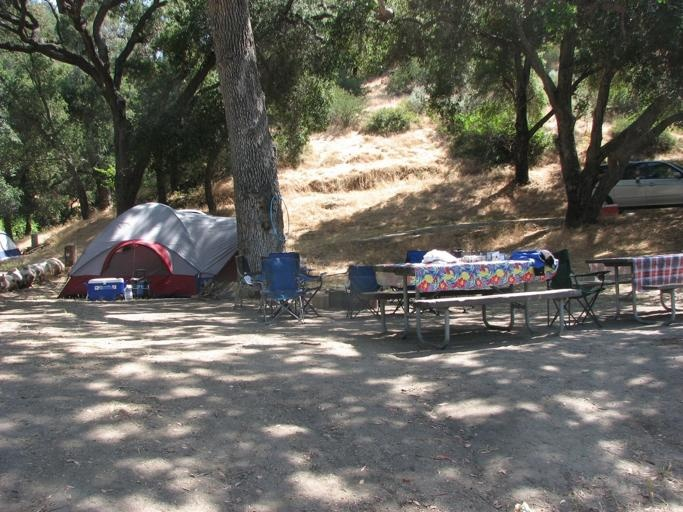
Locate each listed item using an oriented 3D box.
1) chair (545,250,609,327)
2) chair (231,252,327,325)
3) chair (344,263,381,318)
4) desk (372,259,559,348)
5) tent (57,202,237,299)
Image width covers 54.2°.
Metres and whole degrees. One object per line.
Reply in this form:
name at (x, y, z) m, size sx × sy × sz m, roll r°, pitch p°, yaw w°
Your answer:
chair at (3.438, 0.454, 9.683) m, size 0.823 × 1.049 × 0.924 m, roll 1°, pitch 4°, yaw -27°
chair at (-1.002, 0.505, 10.990) m, size 0.967 × 0.755 × 1.615 m, roll 1°, pitch 3°, yaw -6°
chair at (0.453, 0.652, 11.296) m, size 0.740 × 0.940 × 0.779 m, roll 1°, pitch 6°, yaw 12°
desk at (1.699, 0.593, 8.980) m, size 1.833 × 1.191 × 2.033 m, roll 10°, pitch 15°, yaw 37°
tent at (-4.301, -0.115, 15.792) m, size 2.774 × 1.162 × 2.826 m, roll 0°, pitch 3°, yaw 8°
